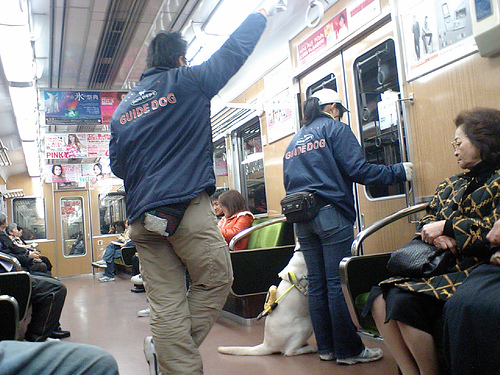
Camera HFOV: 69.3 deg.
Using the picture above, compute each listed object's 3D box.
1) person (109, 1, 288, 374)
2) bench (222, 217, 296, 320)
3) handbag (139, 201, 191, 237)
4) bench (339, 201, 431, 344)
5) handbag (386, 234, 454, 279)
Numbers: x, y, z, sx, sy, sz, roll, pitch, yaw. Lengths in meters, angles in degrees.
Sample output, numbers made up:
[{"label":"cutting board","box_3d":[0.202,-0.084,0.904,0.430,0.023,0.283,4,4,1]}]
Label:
[{"label":"person","box_3d":[-0.411,0.004,2.353,0.975,2.244,0.447,-3,-4,-13]},{"label":"bench","box_3d":[-0.103,1.104,4.974,1.065,1.230,1.315,-1,-6,-30]},{"label":"handbag","box_3d":[-0.505,0.177,2.080,0.222,0.179,0.088,-2,-5,-9]},{"label":"bench","box_3d":[1.151,0.604,2.810,0.852,0.976,0.565,-8,-11,10]},{"label":"handbag","box_3d":[1.067,0.407,2.251,0.332,0.154,0.426,-26,-2,-18]}]
